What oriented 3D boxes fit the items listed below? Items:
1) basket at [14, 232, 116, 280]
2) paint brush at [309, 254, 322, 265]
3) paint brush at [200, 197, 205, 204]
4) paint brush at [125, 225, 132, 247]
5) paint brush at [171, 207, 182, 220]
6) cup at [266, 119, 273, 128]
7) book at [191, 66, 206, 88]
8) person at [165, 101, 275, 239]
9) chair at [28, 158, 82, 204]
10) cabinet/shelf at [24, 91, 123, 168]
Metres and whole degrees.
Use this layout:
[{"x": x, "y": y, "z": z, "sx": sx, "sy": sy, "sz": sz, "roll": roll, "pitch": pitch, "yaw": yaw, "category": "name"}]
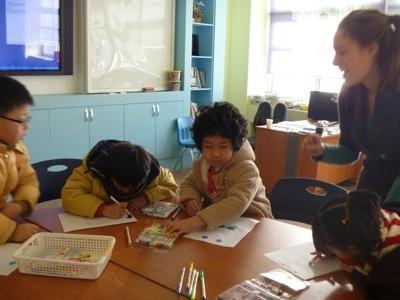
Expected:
[{"x": -0.542, "y": 0.430, "z": 1.222, "sx": 0.282, "sy": 0.071, "sz": 0.184, "roll": 3, "pitch": 14, "yaw": 5, "category": "basket"}, {"x": 0.484, "y": 0.458, "z": 1.259, "sx": 0.027, "sy": 0.015, "sz": 0.047, "roll": -15, "pitch": 3, "yaw": 16, "category": "paint brush"}, {"x": 0.019, "y": 0.315, "z": 1.888, "sx": 0.029, "sy": 0.054, "sz": 0.029, "roll": 0, "pitch": 4, "yaw": 33, "category": "paint brush"}, {"x": -0.335, "y": 0.405, "z": 1.415, "sx": 0.021, "sy": 0.028, "sz": 0.200, "roll": 5, "pitch": 20, "yaw": -15, "category": "paint brush"}, {"x": -0.131, "y": 0.345, "z": 1.676, "sx": 0.017, "sy": 0.018, "sz": 0.127, "roll": 24, "pitch": 19, "yaw": 1, "category": "paint brush"}, {"x": 0.950, "y": -0.375, "z": 4.239, "sx": 0.124, "sy": 0.139, "sz": 0.124, "roll": -2, "pitch": 8, "yaw": 0, "category": "cup"}, {"x": -0.027, "y": -1.266, "z": 5.404, "sx": 0.397, "sy": 0.408, "sz": 0.302, "roll": -1, "pitch": 7, "yaw": -1, "category": "book"}, {"x": 0.095, "y": 0.182, "z": 1.831, "sx": 0.530, "sy": 0.871, "sz": 0.821, "roll": 2, "pitch": 13, "yaw": 14, "category": "person"}, {"x": -1.025, "y": 0.203, "z": 2.281, "sx": 0.282, "sy": 0.443, "sz": 0.298, "roll": -3, "pitch": 6, "yaw": -21, "category": "chair"}, {"x": -1.385, "y": -0.232, "z": 3.168, "sx": 0.759, "sy": 0.721, "sz": 0.292, "roll": -15, "pitch": 28, "yaw": -40, "category": "cabinet/shelf"}]
